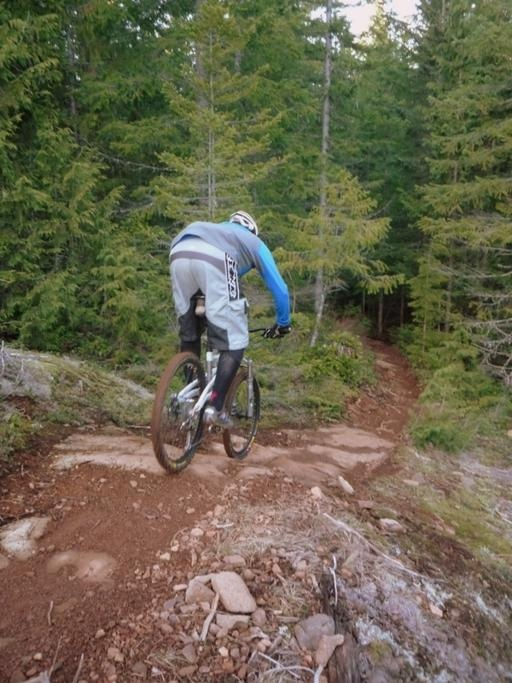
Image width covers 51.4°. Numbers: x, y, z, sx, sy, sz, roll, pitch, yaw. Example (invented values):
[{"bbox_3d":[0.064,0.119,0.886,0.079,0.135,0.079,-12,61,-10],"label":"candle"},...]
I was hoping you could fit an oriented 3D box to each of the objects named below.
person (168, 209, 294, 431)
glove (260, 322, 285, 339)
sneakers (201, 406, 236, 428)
[{"bbox_3d":[-0.289,-0.141,4.694,1.090,1.805,0.537,9,6,-11],"label":"person"},{"bbox_3d":[0.198,-0.095,5.301,0.090,0.154,0.311,-8,2,-28],"label":"glove"},{"bbox_3d":[-0.339,0.675,4.696,0.115,0.155,0.337,2,-10,23],"label":"sneakers"}]
